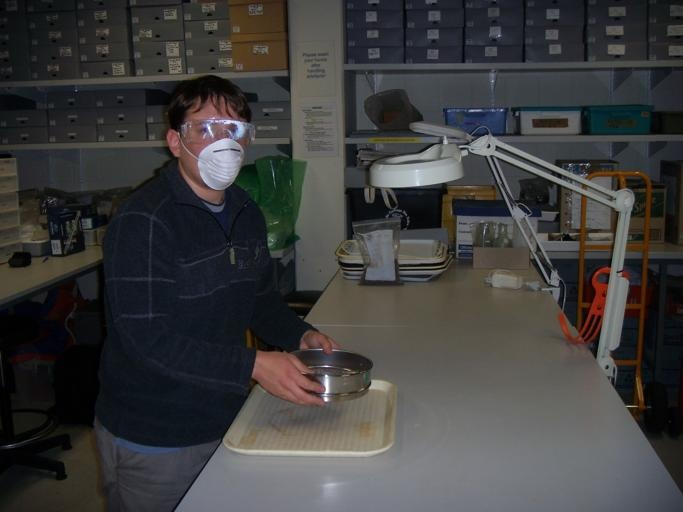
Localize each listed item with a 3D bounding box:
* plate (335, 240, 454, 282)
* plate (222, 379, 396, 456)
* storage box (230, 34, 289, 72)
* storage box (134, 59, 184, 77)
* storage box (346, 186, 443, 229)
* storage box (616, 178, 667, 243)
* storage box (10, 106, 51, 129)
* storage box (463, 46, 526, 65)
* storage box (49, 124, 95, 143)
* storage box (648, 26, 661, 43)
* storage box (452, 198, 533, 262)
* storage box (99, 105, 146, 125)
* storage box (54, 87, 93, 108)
[{"bbox_3d":[0.262,0.026,2.731,0.368,0.122,0.282,0,9,6],"label":"plate"},{"bbox_3d":[-0.071,0.426,1.471,0.429,0.077,0.316,0,9,6],"label":"plate"},{"bbox_3d":[-0.511,-1.274,3.470,0.244,0.165,0.258,3,16,10],"label":"storage box"},{"bbox_3d":[-1.185,-1.227,3.644,0.194,0.075,0.148,2,18,4],"label":"storage box"},{"bbox_3d":[0.370,-0.376,3.712,0.432,0.306,0.333,-2,10,4],"label":"storage box"},{"bbox_3d":[1.965,-0.284,3.627,0.251,0.292,0.260,16,18,4],"label":"storage box"},{"bbox_3d":[-2.175,-0.932,3.771,0.344,0.116,0.038,1,9,14],"label":"storage box"},{"bbox_3d":[0.945,-1.246,3.411,0.364,0.103,0.028,-1,9,2],"label":"storage box"},{"bbox_3d":[-1.832,-0.822,3.685,0.190,0.076,0.152,0,8,-3],"label":"storage box"},{"bbox_3d":[1.897,-1.340,3.337,0.074,0.079,0.042,2,18,8],"label":"storage box"},{"bbox_3d":[0.772,-0.160,2.969,0.347,0.236,0.364,-1,10,-4],"label":"storage box"},{"bbox_3d":[-1.481,-0.927,3.681,0.165,0.069,0.163,-1,7,-7],"label":"storage box"},{"bbox_3d":[-1.846,-1.046,3.725,0.357,0.120,0.059,2,9,16],"label":"storage box"}]
